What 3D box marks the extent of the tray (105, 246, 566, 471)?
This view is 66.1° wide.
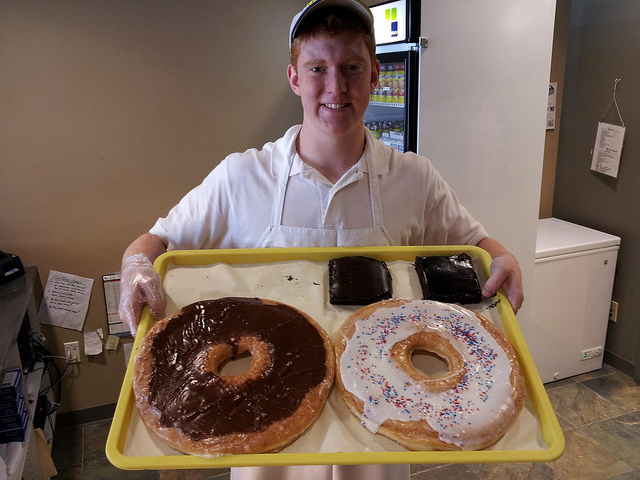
[{"bbox_3d":[0.044,0.498,1.740,1.351,0.813,0.758,-3,16,1],"label":"tray"}]

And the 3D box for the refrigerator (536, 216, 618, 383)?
[{"bbox_3d":[1.878,0.420,4.029,0.695,1.182,0.739,-9,25,1],"label":"refrigerator"}]

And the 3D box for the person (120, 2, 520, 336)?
[{"bbox_3d":[0.037,-0.401,2.411,1.678,1.719,0.947,-1,9,-6],"label":"person"}]
